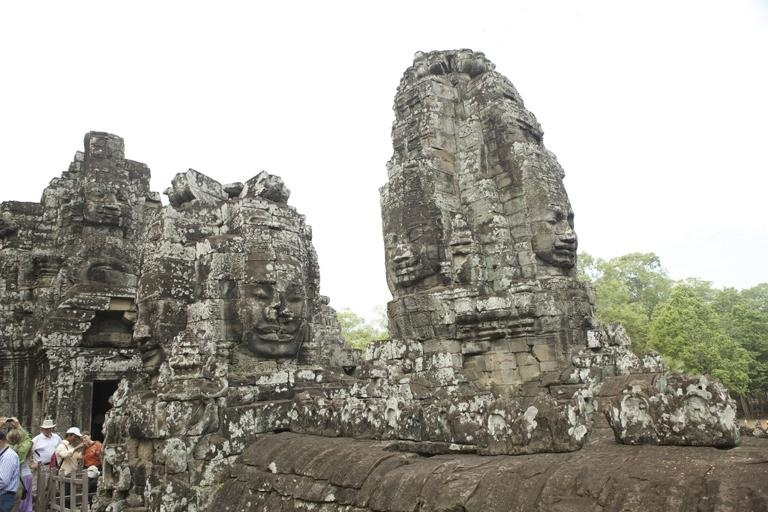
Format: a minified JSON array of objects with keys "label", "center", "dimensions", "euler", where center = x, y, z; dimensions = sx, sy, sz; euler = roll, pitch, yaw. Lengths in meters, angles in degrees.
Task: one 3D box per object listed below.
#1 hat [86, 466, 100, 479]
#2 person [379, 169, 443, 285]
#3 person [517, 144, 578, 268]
[{"label":"hat","center":[-5.133,3.821,12.797],"dimensions":[0.164,0.236,0.512],"euler":[2,-21,-17]},{"label":"person","center":[0.745,-0.834,17.334],"dimensions":[1.370,2.991,0.513],"euler":[-19,-26,32]},{"label":"person","center":[3.812,-1.291,16.985],"dimensions":[1.236,3.054,0.568],"euler":[4,-23,-22]}]
